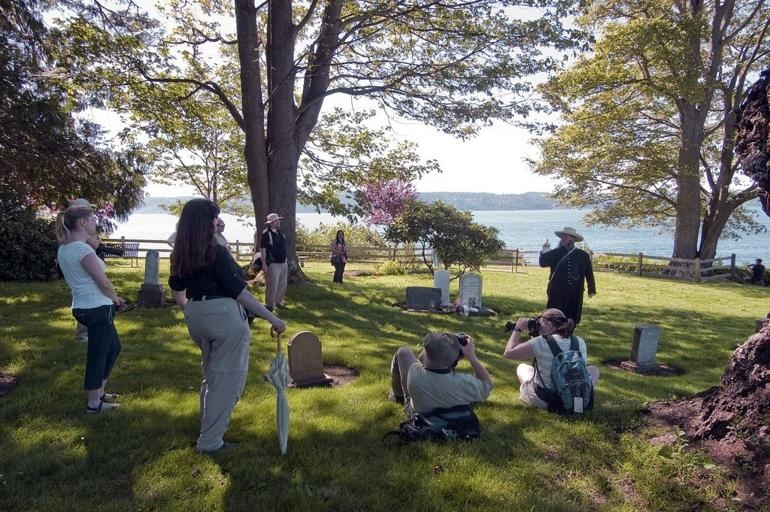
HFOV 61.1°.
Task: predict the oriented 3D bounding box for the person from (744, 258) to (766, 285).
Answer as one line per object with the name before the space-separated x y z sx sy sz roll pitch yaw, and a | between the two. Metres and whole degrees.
person | 19.172 0.761 33.660 0.798 1.293 2.067 6 6 29

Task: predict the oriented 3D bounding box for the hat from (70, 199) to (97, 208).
hat | -6.065 -1.044 13.091 0.403 0.202 0.582 1 3 -16

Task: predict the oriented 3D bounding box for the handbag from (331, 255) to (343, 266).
handbag | -1.752 0.157 23.743 0.334 0.272 0.349 1 -1 -18

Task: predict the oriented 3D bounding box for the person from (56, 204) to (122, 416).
person | -5.852 1.035 13.020 1.156 4.156 0.559 1 5 -16

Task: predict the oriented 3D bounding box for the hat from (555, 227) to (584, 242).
hat | 4.841 -0.570 17.196 0.632 0.388 0.881 5 5 16

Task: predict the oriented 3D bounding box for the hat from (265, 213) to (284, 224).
hat | -3.390 -1.149 19.873 0.432 0.158 0.441 -11 9 -27

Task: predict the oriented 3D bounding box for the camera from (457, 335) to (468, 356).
camera | 1.528 1.777 12.851 0.248 0.376 0.160 4 -10 18

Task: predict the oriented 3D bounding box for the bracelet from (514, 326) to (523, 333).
bracelet | 2.769 1.534 13.600 0.141 0.108 0.133 -1 -16 29

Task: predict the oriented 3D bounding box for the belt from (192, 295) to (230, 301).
belt | -3.257 0.811 12.175 0.642 0.126 0.053 3 5 -2

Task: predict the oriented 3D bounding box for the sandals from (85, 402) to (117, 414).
sandals | -5.710 3.044 13.156 0.479 0.227 0.257 -4 10 -24
